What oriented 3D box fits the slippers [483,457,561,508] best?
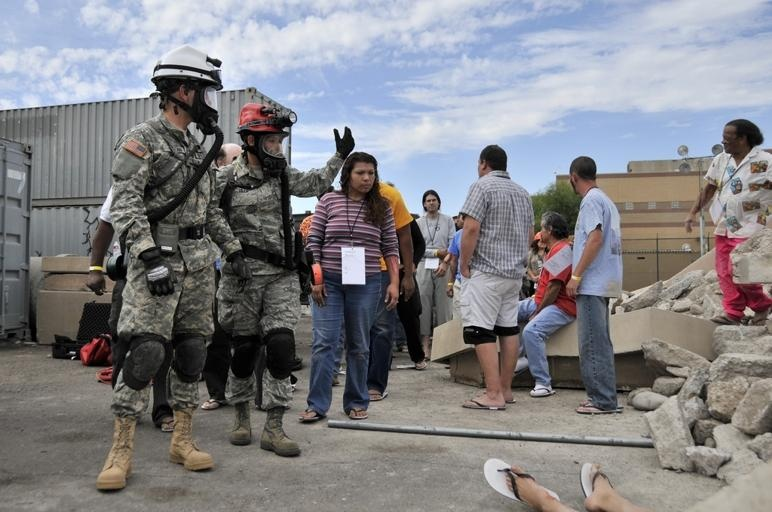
[{"bbox_3d":[0.868,1.524,3.694,0.502,0.086,0.242,27,56,31],"label":"slippers"}]

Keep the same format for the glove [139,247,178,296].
[{"bbox_3d":[-1.572,0.114,3.945,0.243,0.333,0.154,-3,-19,-13],"label":"glove"}]

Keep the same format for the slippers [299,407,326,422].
[{"bbox_3d":[-0.677,1.490,5.324,0.098,0.078,0.269,-2,-12,13],"label":"slippers"}]

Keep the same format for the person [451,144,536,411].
[{"bbox_3d":[1.112,0.185,5.934,0.814,2.739,0.443,0,0,-40],"label":"person"}]

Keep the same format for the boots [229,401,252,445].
[{"bbox_3d":[-1.220,1.408,4.831,0.165,0.339,0.366,-1,-1,-7],"label":"boots"}]

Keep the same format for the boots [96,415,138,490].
[{"bbox_3d":[-1.879,1.374,4.003,0.176,0.432,0.467,6,-4,-16],"label":"boots"}]

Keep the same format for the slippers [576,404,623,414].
[{"bbox_3d":[2.098,1.517,5.612,0.387,0.099,0.163,4,-11,8],"label":"slippers"}]

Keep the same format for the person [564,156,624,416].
[{"bbox_3d":[2.092,0.261,5.710,0.499,2.575,0.422,0,0,22],"label":"person"}]

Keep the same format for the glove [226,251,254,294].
[{"bbox_3d":[-1.165,0.111,4.558,0.131,0.215,0.356,-28,-15,-8],"label":"glove"}]

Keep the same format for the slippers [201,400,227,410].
[{"bbox_3d":[-1.747,1.506,5.761,0.093,0.075,0.255,-3,-12,21],"label":"slippers"}]

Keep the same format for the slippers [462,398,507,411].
[{"bbox_3d":[0.996,1.524,5.772,0.333,0.078,0.151,5,-12,0],"label":"slippers"}]

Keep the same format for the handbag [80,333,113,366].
[{"bbox_3d":[-4.066,1.297,7.824,0.119,0.257,0.354,-2,16,8],"label":"handbag"}]

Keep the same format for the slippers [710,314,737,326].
[{"bbox_3d":[3.745,0.698,6.370,0.298,0.122,0.109,14,-3,5],"label":"slippers"}]

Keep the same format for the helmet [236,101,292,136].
[{"bbox_3d":[-0.953,-1.110,4.820,0.530,0.248,0.400,-4,11,-5],"label":"helmet"}]

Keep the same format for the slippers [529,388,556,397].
[{"bbox_3d":[1.736,1.495,6.306,0.232,0.097,0.098,-3,14,6],"label":"slippers"}]

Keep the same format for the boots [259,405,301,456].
[{"bbox_3d":[-0.843,1.414,4.601,0.379,0.355,0.165,1,-9,37],"label":"boots"}]

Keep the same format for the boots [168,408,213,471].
[{"bbox_3d":[-1.460,1.371,4.283,0.441,0.414,0.184,4,2,35],"label":"boots"}]

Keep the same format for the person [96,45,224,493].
[{"bbox_3d":[-1.546,0.000,4.162,0.829,3.150,0.555,0,0,-30],"label":"person"}]

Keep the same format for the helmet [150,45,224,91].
[{"bbox_3d":[-1.514,-1.445,4.328,0.500,0.292,0.388,-5,7,-34],"label":"helmet"}]
